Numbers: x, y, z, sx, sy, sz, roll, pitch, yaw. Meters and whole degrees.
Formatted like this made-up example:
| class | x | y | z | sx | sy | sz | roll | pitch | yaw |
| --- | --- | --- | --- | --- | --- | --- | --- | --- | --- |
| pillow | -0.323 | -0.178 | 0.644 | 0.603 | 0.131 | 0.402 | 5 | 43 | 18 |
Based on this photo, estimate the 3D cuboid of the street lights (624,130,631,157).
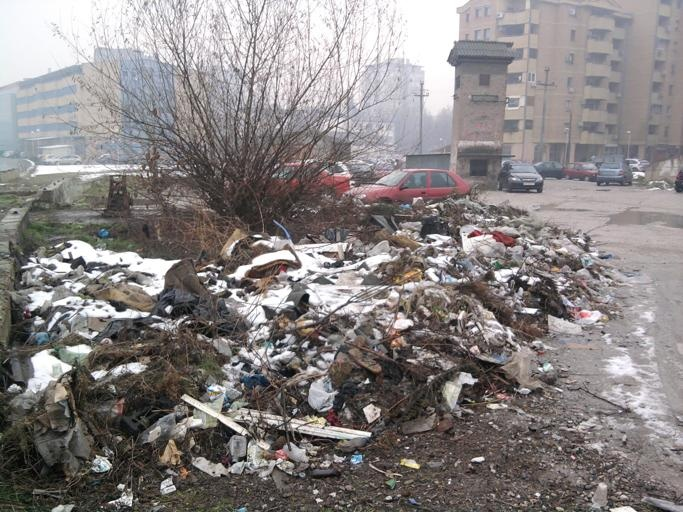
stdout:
| class | x | y | z | sx | sy | sz | roll | pitch | yaw |
| --- | --- | --- | --- | --- | --- | --- | --- | --- | --- |
| street lights | 30.977 | -12.271 | 57.186 | 0.552 | 2.860 | 0.353 | 3 | 10 | 22 |

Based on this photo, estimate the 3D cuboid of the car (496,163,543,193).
| class | x | y | z | sx | sy | sz | roll | pitch | yaw |
| --- | --- | --- | --- | --- | --- | --- | --- | --- | --- |
| car | 8.222 | -3.707 | 24.757 | 1.269 | 0.980 | 2.161 | -1 | 4 | -1 |

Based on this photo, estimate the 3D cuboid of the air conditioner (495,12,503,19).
| class | x | y | z | sx | sy | sz | roll | pitch | yaw |
| --- | --- | --- | --- | --- | --- | --- | --- | --- | --- |
| air conditioner | 15.574 | -23.978 | 52.323 | 0.337 | 0.678 | 0.901 | -6 | 11 | -27 |
